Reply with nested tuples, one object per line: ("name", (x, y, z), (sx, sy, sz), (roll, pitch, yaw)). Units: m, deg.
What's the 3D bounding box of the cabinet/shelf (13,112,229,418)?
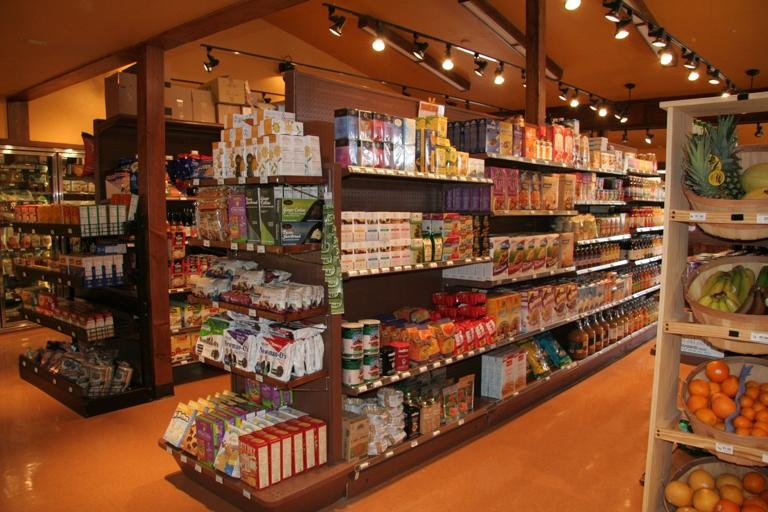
("cabinet/shelf", (-3.634, 0.000, 8.766), (3.849, 4.870, 2.892), (-3, 5, -43))
